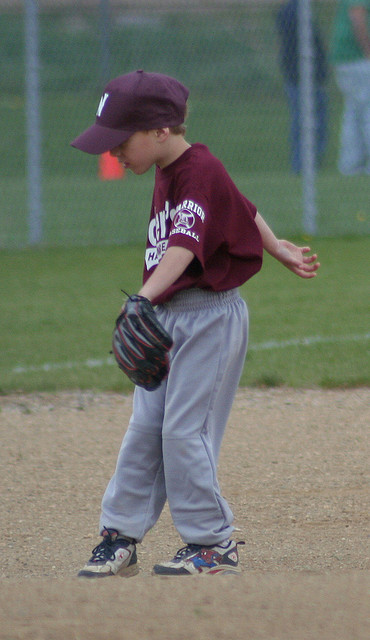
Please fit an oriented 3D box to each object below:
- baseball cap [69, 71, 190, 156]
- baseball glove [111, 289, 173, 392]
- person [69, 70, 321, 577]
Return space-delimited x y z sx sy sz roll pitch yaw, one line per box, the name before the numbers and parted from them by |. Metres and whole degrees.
baseball cap | -0.136 -0.526 2.106 0.331 0.162 0.195 -19 28 -22
baseball glove | -0.078 0.049 1.949 0.068 0.197 0.153 -8 -7 9
person | -0.033 0.053 2.180 0.501 1.329 0.659 0 15 5
